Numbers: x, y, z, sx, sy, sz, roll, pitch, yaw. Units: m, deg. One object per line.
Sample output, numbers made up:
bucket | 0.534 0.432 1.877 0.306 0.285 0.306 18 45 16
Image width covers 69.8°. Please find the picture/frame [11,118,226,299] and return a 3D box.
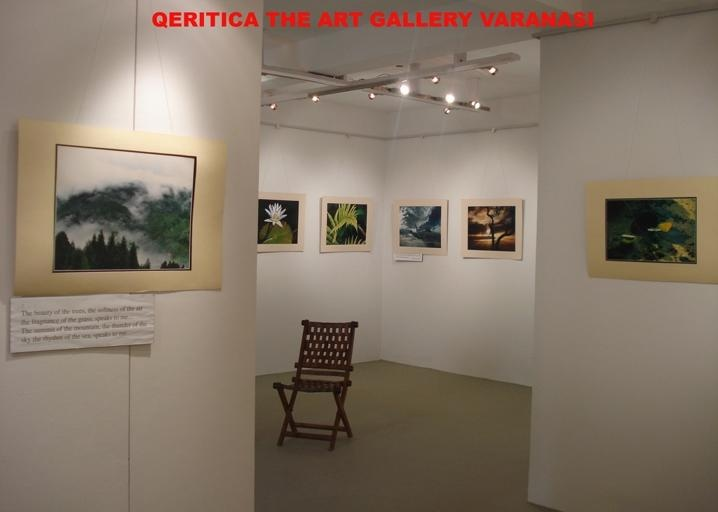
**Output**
picture/frame | -1.307 -0.255 2.705 0.904 0.802 0.015 1 -1 -29

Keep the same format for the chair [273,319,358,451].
chair | -0.417 1.267 5.223 0.691 1.173 0.747 0 -5 25
